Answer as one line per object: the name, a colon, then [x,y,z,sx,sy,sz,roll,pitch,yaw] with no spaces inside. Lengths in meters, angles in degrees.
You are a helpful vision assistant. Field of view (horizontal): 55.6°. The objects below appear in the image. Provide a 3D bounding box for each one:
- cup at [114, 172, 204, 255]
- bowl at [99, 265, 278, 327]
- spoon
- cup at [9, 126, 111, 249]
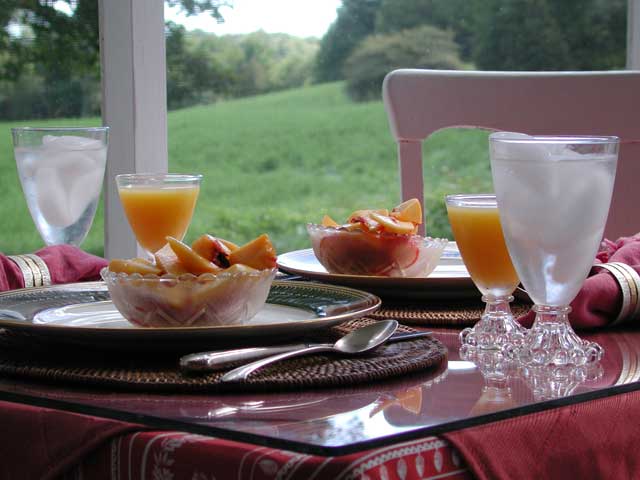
cup: [-0.191,-0.035,0.862,0.140,0.131,0.123,0,3,-2]
bowl: [-0.110,0.049,0.531,0.148,0.043,0.140,-2,-2,0]
spoon: [0.011,0.075,0.460,0.177,0.021,0.037,-2,3,-33]
cup: [-0.379,-0.079,0.897,0.132,0.175,0.083,-3,10,-23]
